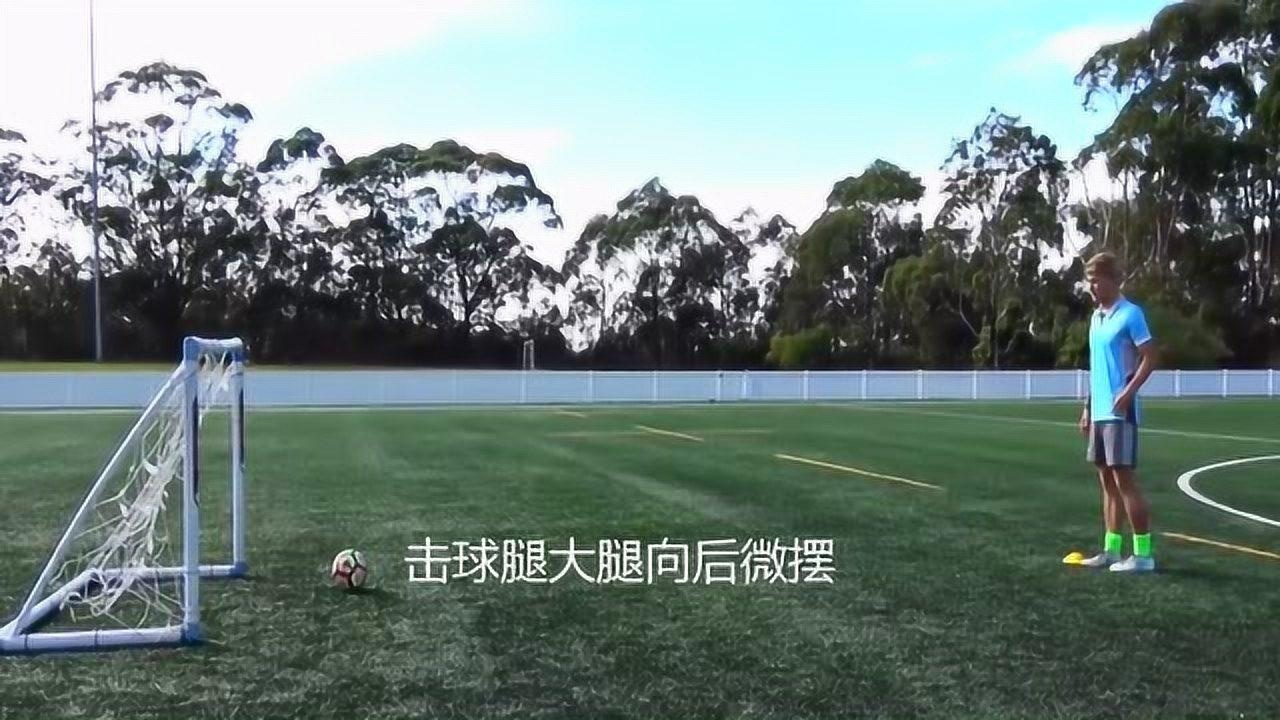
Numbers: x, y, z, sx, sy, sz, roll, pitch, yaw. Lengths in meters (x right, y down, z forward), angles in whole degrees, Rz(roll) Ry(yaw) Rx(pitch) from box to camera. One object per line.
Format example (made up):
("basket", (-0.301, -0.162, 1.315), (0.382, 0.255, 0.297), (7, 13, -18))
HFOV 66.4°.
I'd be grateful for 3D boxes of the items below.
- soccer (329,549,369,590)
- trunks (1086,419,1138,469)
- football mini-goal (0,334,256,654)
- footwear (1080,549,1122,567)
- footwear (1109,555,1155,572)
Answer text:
("soccer", (-3.147, 2.248, 10.561), (0.362, 0.359, 0.322), (0, -2, 2))
("trunks", (5.059, 0.842, 10.496), (0.337, 0.561, 0.581), (6, -6, -16))
("football mini-goal", (-7.913, 1.828, 14.803), (2.407, 3.138, 4.151), (0, -1, -14))
("footwear", (5.159, 2.211, 11.005), (0.445, 0.199, 0.170), (0, -5, 8))
("footwear", (5.417, 2.209, 10.781), (0.512, 0.212, 0.195), (0, -8, 5))
